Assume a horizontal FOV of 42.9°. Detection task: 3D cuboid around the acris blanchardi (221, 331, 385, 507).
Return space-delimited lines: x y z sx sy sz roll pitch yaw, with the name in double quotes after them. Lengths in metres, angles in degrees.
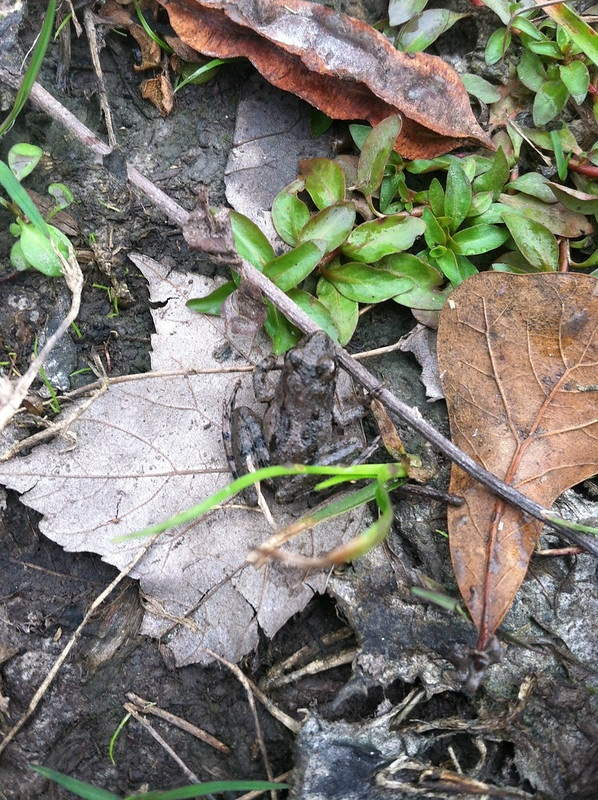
0.013 0.080 3.233 0.667 0.240 0.703 17 85 4 "acris blanchardi"
